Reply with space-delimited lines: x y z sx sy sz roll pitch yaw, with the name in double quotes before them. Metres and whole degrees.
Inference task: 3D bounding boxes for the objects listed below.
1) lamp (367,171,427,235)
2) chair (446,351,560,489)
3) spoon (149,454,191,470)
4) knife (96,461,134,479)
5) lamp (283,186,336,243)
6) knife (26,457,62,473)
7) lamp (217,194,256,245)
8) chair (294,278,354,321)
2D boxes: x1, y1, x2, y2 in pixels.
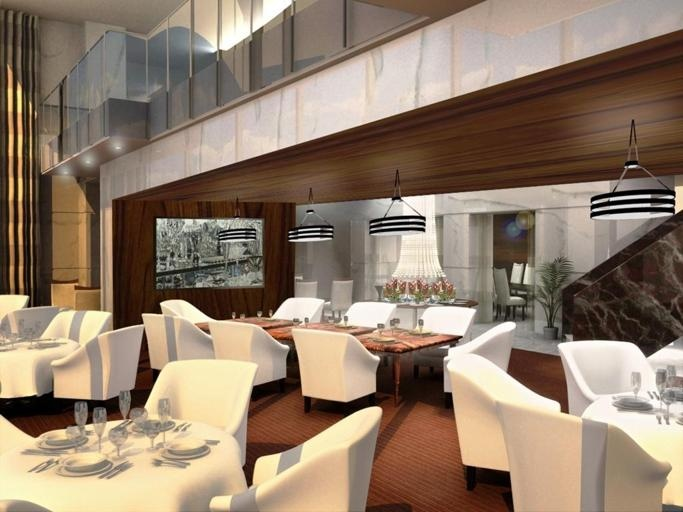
"lamp" 0.715 -0.715 6.581 0.754 0.909 0.781 -2 -1 25
"chair" 1.293 1.333 4.115 0.825 0.975 0.790 -1 -4 30
"spoon" -0.957 1.145 2.818 0.220 0.035 0.073 3 5 32
"knife" -1.207 1.154 2.730 0.042 0.007 0.163 1 3 11
"lamp" -0.675 -0.779 9.979 0.633 1.276 1.115 5 -9 -37
"knife" -1.629 1.152 2.794 0.147 0.023 0.039 -12 5 -29
"lamp" -1.937 -0.571 9.480 0.819 0.978 0.854 -3 -5 16
"chair" -0.487 1.078 12.250 0.909 1.313 1.006 -3 -7 39
